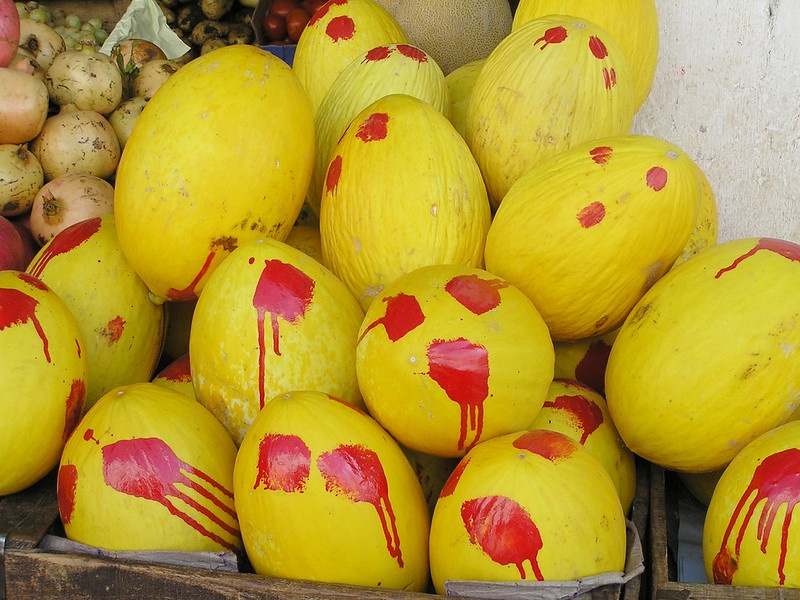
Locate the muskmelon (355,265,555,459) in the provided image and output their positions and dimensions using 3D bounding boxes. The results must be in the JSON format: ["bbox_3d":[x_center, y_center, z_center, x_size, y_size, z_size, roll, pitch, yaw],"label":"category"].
[{"bbox_3d":[0.072,0.079,1.522,0.317,0.293,0.324,1,29,2],"label":"muskmelon"}]

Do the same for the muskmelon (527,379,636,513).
[{"bbox_3d":[0.308,0.236,1.613,0.167,0.194,0.238,3,68,9],"label":"muskmelon"}]

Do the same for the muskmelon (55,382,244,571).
[{"bbox_3d":[-0.389,0.279,1.444,0.274,0.185,0.228,-13,43,-16],"label":"muskmelon"}]

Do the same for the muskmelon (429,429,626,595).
[{"bbox_3d":[0.176,0.269,1.421,0.222,0.295,0.225,5,1,-40],"label":"muskmelon"}]

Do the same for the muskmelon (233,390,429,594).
[{"bbox_3d":[-0.100,0.292,1.377,0.259,0.223,0.209,-6,40,-8],"label":"muskmelon"}]
